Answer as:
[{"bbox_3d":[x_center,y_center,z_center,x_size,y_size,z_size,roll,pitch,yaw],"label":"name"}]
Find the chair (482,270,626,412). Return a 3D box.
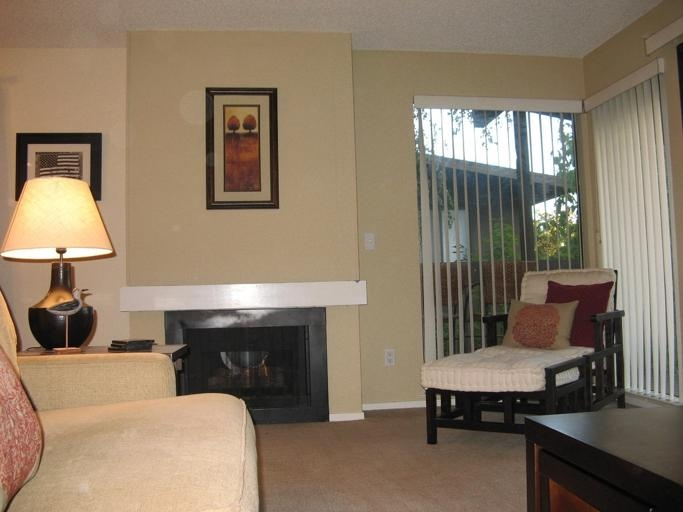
[{"bbox_3d":[1.398,0.640,4.113,0.808,1.070,0.702,-5,-3,36],"label":"chair"}]

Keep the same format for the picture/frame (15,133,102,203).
[{"bbox_3d":[-2.083,-0.650,4.538,0.523,0.458,0.023,-4,-18,-18],"label":"picture/frame"}]

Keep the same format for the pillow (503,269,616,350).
[{"bbox_3d":[1.455,0.349,4.110,0.627,0.476,0.552,1,5,35],"label":"pillow"}]

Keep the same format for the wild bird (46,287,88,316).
[{"bbox_3d":[-1.562,0.253,3.370,0.255,0.186,0.119,0,-4,-2],"label":"wild bird"}]

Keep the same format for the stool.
[{"bbox_3d":[1.093,0.866,3.923,0.950,0.536,1.208,-4,-2,20],"label":"stool"}]
